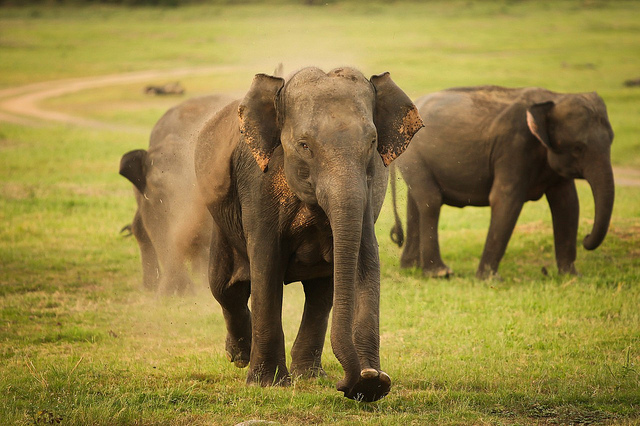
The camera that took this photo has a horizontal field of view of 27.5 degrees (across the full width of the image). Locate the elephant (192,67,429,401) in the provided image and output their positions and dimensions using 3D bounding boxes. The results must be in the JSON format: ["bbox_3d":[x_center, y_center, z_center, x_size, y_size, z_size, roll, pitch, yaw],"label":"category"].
[{"bbox_3d":[-0.252,0.296,13.298,2.148,3.293,1.819,4,24,13],"label":"elephant"}]
